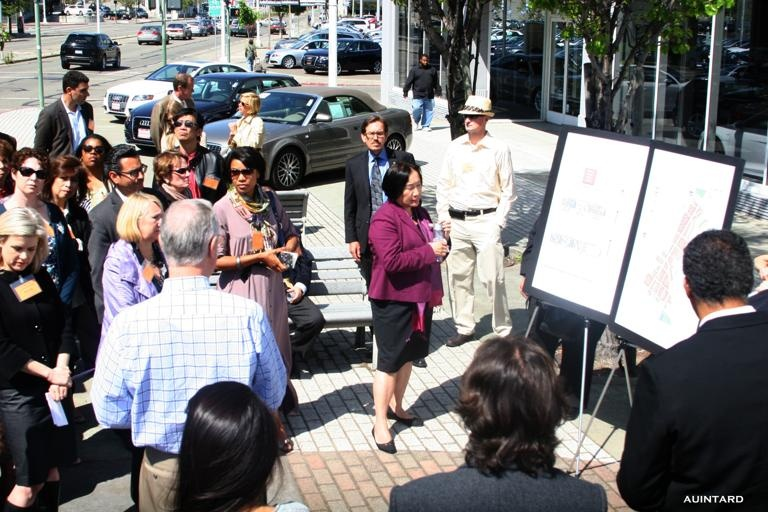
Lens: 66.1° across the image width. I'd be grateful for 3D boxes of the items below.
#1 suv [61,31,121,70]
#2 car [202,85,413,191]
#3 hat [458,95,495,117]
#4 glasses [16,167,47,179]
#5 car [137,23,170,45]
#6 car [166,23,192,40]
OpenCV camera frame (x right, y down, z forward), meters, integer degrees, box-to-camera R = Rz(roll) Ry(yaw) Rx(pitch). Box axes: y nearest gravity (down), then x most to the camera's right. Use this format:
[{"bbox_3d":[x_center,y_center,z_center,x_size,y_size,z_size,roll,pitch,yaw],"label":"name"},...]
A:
[{"bbox_3d":[-18.641,-13.071,37.659,1.867,2.144,3.215,6,19,22],"label":"suv"},{"bbox_3d":[-1.533,-2.832,14.528,5.318,1.968,2.334,-11,16,-42],"label":"car"},{"bbox_3d":[1.084,-1.744,6.867,0.348,0.234,0.500,1,18,7],"label":"hat"},{"bbox_3d":[-2.942,-0.695,4.919,0.217,0.114,0.134,-8,18,-21],"label":"glasses"},{"bbox_3d":[-22.465,-21.366,56.978,1.880,1.705,1.893,1,17,7],"label":"car"},{"bbox_3d":[-23.006,-25.108,66.162,2.262,1.612,3.028,-5,18,-12],"label":"car"}]
